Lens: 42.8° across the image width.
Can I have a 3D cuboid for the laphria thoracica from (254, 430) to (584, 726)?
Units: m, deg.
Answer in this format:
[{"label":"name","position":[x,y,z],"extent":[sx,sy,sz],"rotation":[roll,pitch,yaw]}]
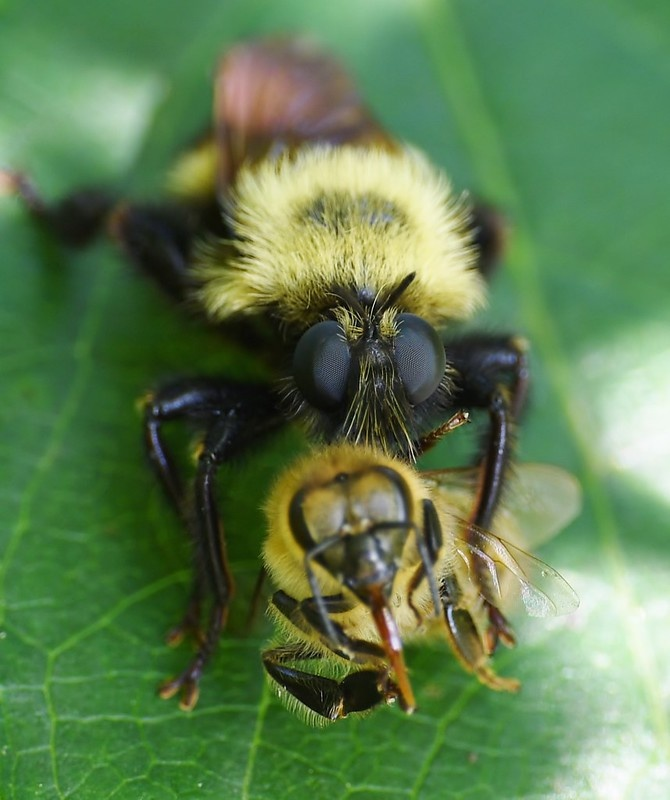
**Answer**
[{"label":"laphria thoracica","position":[0.075,0.205,0.820],"extent":[0.256,0.343,0.113],"rotation":[-24,57,-8]}]
